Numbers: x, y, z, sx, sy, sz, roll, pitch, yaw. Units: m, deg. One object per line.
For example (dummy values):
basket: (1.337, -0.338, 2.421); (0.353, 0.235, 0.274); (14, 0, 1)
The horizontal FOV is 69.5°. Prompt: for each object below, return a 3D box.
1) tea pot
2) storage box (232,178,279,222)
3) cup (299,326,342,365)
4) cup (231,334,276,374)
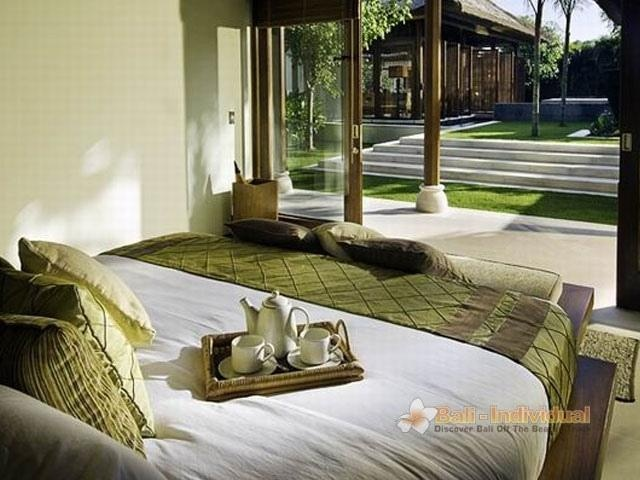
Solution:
tea pot: (-0.152, 0.295, 1.595); (0.215, 0.242, 0.153); (-3, 6, -13)
storage box: (-0.711, -0.418, 5.020); (0.512, 0.388, 0.556); (0, 12, 0)
cup: (0.003, 0.345, 1.497); (0.112, 0.092, 0.091); (6, 17, 18)
cup: (-0.219, 0.370, 1.472); (0.127, 0.099, 0.105); (4, 9, 12)
